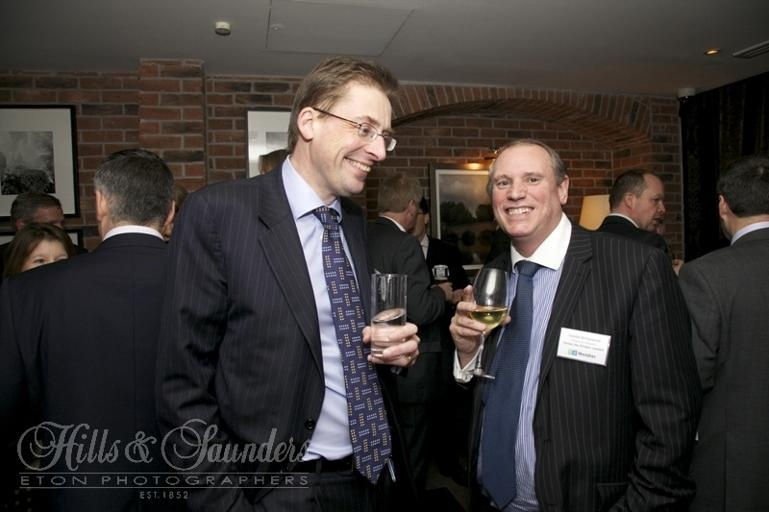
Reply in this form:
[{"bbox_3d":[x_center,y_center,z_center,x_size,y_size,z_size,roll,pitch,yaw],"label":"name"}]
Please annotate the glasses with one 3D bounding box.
[{"bbox_3d":[-0.113,-0.556,2.508,0.237,0.067,0.224,31,7,21],"label":"glasses"}]
